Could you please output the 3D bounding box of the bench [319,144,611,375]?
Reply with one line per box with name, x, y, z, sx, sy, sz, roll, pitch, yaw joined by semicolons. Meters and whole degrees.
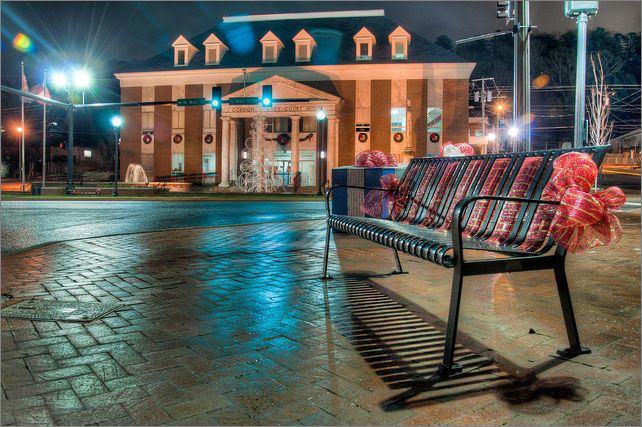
bench;1.266;0.206;4.369;1.531;1.782;2.459;-3;10;-19
